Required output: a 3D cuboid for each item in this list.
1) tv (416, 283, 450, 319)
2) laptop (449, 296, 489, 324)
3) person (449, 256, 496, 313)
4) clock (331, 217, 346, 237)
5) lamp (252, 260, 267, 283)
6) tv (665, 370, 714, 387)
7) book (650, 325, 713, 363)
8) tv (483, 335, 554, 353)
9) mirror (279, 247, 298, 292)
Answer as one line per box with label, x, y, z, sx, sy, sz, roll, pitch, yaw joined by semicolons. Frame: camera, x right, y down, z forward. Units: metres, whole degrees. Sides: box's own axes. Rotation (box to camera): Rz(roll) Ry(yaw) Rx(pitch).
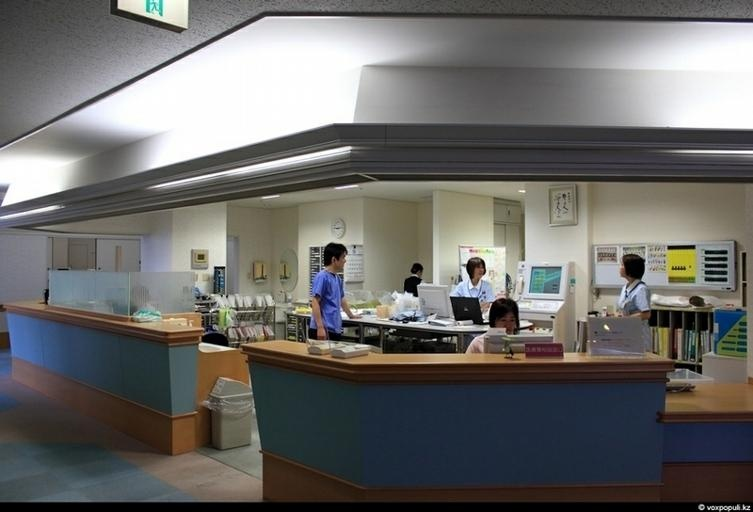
tv;0.807;0.652;7.593;0.116;0.359;0.471;-22;15;-35
laptop;1.228;0.653;7.190;0.476;0.328;0.372;1;2;39
person;1.478;0.447;8.433;0.771;1.262;0.411;0;-8;-6
clock;-0.948;-0.716;12.930;0.077;0.535;0.473;-2;4;-43
lamp;-3.359;0.434;15.011;0.228;0.612;0.450;0;-4;20
tv;2.786;1.098;4.756;0.331;0.075;0.325;0;3;6
book;4.242;1.208;7.299;0.760;0.682;0.253;2;0;41
tv;1.174;0.741;4.442;0.564;0.172;0.177;0;-3;15
mirror;-2.457;0.400;14.685;0.060;1.469;1.186;1;-4;-34
